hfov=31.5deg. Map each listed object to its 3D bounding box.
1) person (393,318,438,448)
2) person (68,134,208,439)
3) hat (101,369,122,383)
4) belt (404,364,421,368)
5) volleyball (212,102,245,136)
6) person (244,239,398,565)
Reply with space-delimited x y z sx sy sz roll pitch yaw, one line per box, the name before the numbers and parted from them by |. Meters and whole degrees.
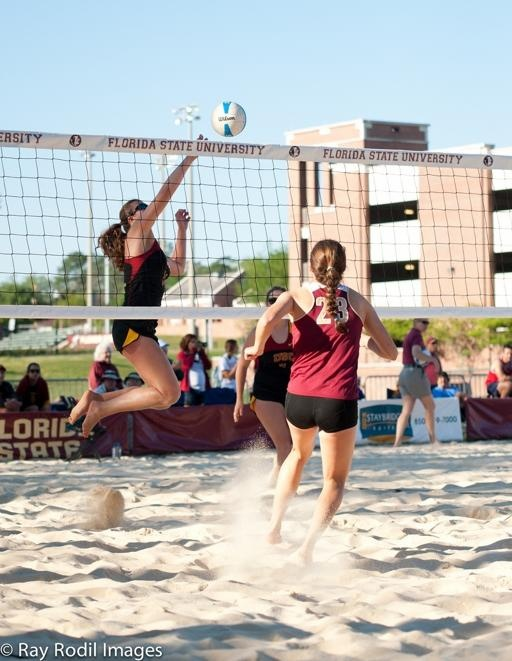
person | 1.609 0.557 9.325 0.433 1.175 0.461 -3 1 10
person | -0.647 -0.195 4.599 0.742 1.482 0.911 -3 1 -4
hat | -1.441 0.453 9.077 0.161 0.069 0.130 4 -3 -28
belt | 1.585 0.358 9.175 0.165 0.037 0.070 -2 1 19
volleyball | -0.170 -1.425 6.077 0.210 0.221 0.262 -3 1 -13
person | 0.261 0.300 3.969 0.774 1.333 0.588 3 -2 9
